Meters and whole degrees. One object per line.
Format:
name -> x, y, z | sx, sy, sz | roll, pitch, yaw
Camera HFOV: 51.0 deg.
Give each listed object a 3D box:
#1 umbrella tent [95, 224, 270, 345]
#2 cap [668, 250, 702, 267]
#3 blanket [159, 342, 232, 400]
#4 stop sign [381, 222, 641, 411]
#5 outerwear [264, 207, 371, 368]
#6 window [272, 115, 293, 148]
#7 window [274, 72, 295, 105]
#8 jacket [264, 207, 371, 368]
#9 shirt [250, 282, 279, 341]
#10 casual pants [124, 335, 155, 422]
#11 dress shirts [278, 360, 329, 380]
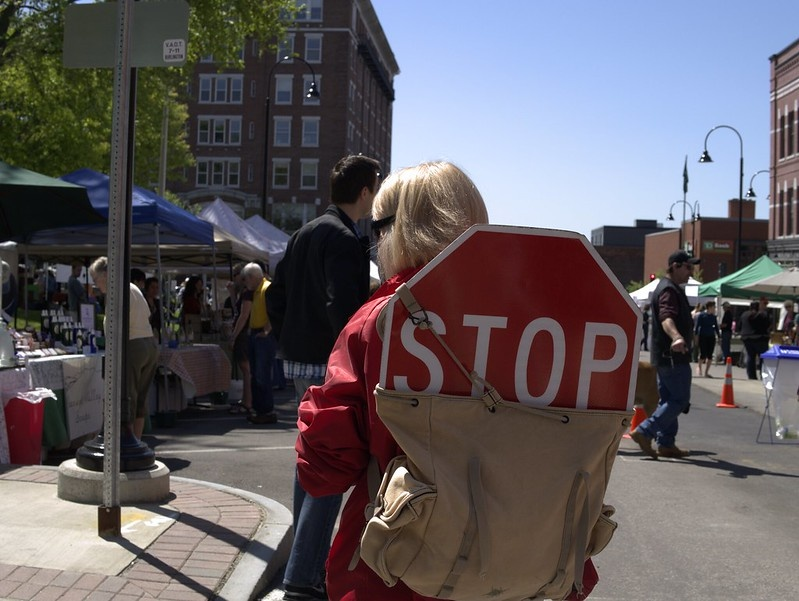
umbrella tent -> -4.055, -0.602, 16.589 | 2.072, 2.247, 2.347 | -1, 4, -4
cap -> 3.294, -0.489, 9.589 | 0.360, 0.233, 0.255 | 2, 5, -2
blanket -> -2.765, 0.924, 11.626 | 0.607, 0.342, 0.750 | 4, 5, 37
stop sign -> 0.351, 0.075, 2.712 | 0.506, 0.420, 0.013 | 7, 7, -5
outerwear -> -0.500, -0.096, 5.143 | 0.390, 1.015, 0.994 | 9, -1, -32
window -> -8.935, -12.776, 63.130 | 1.583, 2.283, 0.206 | 1, 2, 17
window -> -8.823, -15.914, 63.100 | 1.384, 2.290, 0.358 | 0, 2, 8
jacket -> -0.498, -0.071, 5.133 | 0.390, 0.998, 1.004 | 10, -3, -32
shirt -> -1.419, 0.105, 8.613 | 0.355, 0.832, 0.684 | 1, 0, -11
casual pants -> -2.532, 0.780, 8.099 | 0.246, 0.922, 0.377 | 12, -6, -13
dress shirts -> -0.573, 0.415, 4.980 | 0.152, 0.098, 0.220 | 4, 1, 39
